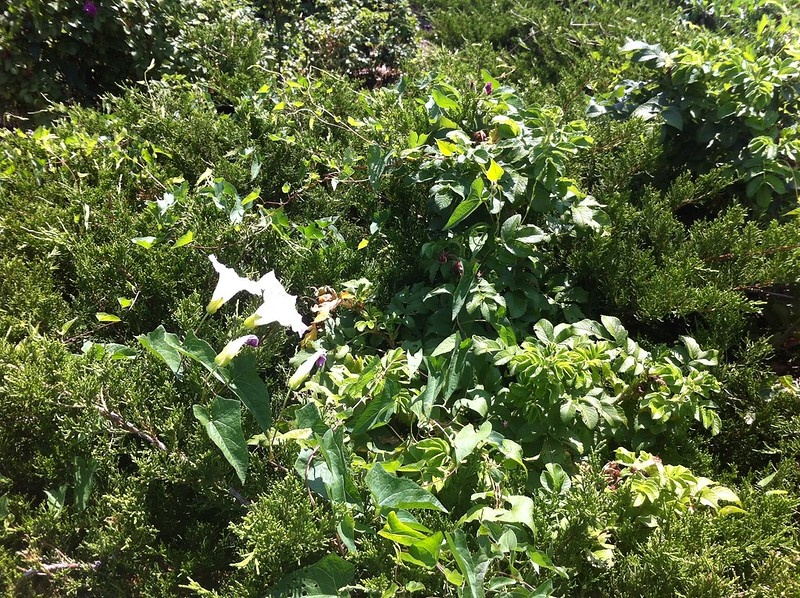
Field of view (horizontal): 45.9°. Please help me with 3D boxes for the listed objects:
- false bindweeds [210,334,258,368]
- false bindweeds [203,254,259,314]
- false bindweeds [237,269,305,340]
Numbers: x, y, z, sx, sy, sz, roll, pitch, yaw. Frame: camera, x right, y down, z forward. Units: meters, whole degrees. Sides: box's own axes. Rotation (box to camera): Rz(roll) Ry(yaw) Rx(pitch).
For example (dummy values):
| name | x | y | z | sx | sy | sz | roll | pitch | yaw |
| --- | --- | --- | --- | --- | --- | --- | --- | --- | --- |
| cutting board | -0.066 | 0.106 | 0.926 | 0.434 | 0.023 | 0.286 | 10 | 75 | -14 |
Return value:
| name | x | y | z | sx | sy | sz | roll | pitch | yaw |
| --- | --- | --- | --- | --- | --- | --- | --- | --- | --- |
| false bindweeds | -0.883 | 0.272 | 5.083 | 0.125 | 0.211 | 0.076 | 49 | 3 | 10 |
| false bindweeds | -0.943 | -0.075 | 5.260 | 0.294 | 0.103 | 0.327 | 40 | 76 | -9 |
| false bindweeds | -0.696 | 0.026 | 5.309 | 0.320 | 0.174 | 0.356 | 18 | 53 | -23 |
